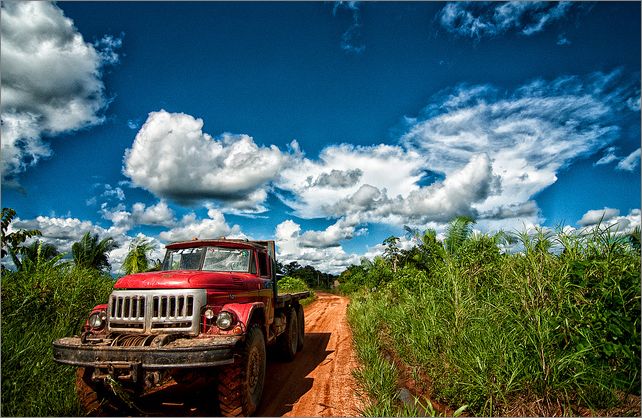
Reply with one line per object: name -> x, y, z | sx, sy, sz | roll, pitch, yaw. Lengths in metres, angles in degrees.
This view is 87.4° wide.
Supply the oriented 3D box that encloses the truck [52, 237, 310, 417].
truck -> -2.789, 2.521, 7.786 | 5.193, 4.088, 2.758 | 16, -27, -40
